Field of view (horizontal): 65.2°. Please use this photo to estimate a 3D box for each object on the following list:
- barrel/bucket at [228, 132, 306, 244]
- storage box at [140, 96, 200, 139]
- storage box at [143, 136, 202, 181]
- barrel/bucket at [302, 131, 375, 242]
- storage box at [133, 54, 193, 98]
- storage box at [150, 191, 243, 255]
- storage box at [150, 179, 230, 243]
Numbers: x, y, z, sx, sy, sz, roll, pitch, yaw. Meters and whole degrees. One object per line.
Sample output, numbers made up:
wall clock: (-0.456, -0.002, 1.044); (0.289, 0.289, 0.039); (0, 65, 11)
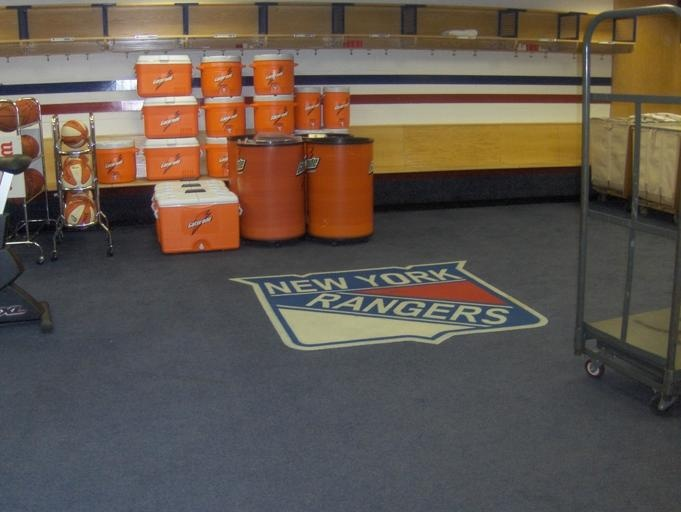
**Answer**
barrel/bucket: (-0.754, -0.701, 5.744); (0.832, 1.157, 0.508); (-5, 22, -4)
storage box: (-1.873, -1.681, 6.592); (0.882, 0.453, 0.626); (7, 14, 31)
storage box: (-1.849, -1.192, 6.659); (0.934, 0.472, 0.619); (3, 11, 24)
barrel/bucket: (-0.010, -0.719, 5.728); (0.755, 1.085, 0.419); (-3, 22, 1)
storage box: (-2.300, -2.173, 6.414); (0.529, 0.458, 0.803); (20, 27, 27)
storage box: (-1.443, -0.347, 5.510); (0.789, 0.353, 0.670); (-3, 14, -11)
storage box: (-1.520, -0.381, 5.674); (0.810, 0.396, 0.955); (-4, 17, -15)
